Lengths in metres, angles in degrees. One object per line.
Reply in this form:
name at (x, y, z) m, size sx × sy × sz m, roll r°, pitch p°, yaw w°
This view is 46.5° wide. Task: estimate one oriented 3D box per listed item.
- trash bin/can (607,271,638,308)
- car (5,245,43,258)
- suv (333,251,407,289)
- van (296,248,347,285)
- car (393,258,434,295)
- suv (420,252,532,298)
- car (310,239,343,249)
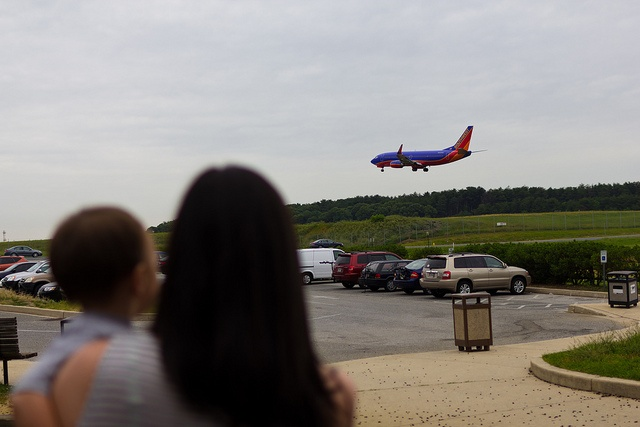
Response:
trash bin/can at (7.821, 1.960, 19.537) m, size 0.960 × 1.194 × 0.925 m, roll 0°, pitch 2°, yaw 14°
car at (-29.372, 4.048, 73.220) m, size 4.028 × 1.189 × 1.654 m, roll -1°, pitch 2°, yaw -10°
suv at (2.155, 2.408, 33.072) m, size 3.158 × 1.072 × 1.414 m, roll -5°, pitch 4°, yaw -29°
van at (-0.250, 2.572, 37.462) m, size 3.625 × 1.610 × 1.678 m, roll -3°, pitch 1°, yaw -36°
car at (3.340, 2.427, 27.434) m, size 1.959 × 0.571 × 0.869 m, roll -5°, pitch 4°, yaw -40°
suv at (5.297, 2.100, 25.842) m, size 3.475 × 1.195 × 1.511 m, roll -4°, pitch 3°, yaw -24°
car at (0.769, 3.234, 77.880) m, size 2.415 × 0.652 × 1.327 m, roll 2°, pitch -3°, yaw -29°
